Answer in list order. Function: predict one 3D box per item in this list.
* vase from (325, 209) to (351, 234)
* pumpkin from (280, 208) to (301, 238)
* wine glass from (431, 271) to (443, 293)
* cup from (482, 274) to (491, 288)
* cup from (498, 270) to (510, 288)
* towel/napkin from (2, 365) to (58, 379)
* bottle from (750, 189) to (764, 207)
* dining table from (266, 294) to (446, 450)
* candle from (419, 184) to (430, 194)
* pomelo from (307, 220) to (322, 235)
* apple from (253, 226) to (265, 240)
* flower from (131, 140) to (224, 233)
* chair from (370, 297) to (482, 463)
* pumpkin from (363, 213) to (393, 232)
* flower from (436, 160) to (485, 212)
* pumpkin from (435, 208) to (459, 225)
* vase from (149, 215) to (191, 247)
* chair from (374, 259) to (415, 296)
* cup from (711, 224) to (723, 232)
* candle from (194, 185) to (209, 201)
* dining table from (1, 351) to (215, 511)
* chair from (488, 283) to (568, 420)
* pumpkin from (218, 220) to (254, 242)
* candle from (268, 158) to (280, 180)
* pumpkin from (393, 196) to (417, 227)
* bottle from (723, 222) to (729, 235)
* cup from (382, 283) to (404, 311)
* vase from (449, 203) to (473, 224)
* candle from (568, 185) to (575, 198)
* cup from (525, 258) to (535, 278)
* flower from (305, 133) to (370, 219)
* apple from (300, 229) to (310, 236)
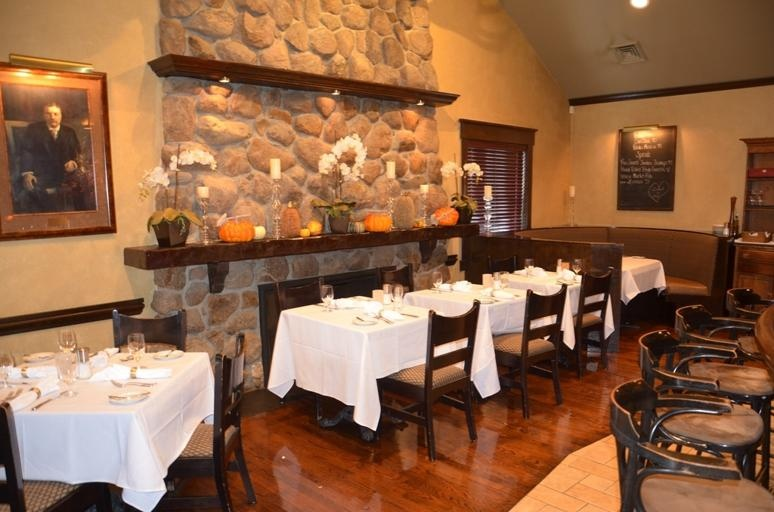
[{"bbox_3d":[-0.529,-0.367,5.897,0.232,0.181,0.245,-4,9,-35],"label":"vase"},{"bbox_3d":[-0.985,-0.346,5.563,0.187,0.300,0.147,-2,7,-11],"label":"pumpkin"},{"bbox_3d":[0.507,0.255,5.531,0.077,0.213,0.276,1,7,9],"label":"wine glass"},{"bbox_3d":[1.026,0.247,5.650,0.109,0.120,0.107,1,7,0],"label":"cup"},{"bbox_3d":[1.169,0.233,5.602,0.132,0.213,0.139,1,3,0],"label":"cup"},{"bbox_3d":[-2.406,0.789,3.720,0.212,0.055,0.143,0,5,23],"label":"towel/napkin"},{"bbox_3d":[5.358,-0.855,7.943,0.040,0.276,0.247,-6,11,-42],"label":"bottle"},{"bbox_3d":[-0.161,0.822,4.876,1.217,0.678,1.138,8,15,35],"label":"dining table"},{"bbox_3d":[0.457,-0.829,6.790,0.129,0.090,0.126,-4,9,-31],"label":"candle"},{"bbox_3d":[-0.745,-0.302,5.812,0.148,0.142,0.143,13,23,42],"label":"pomelo"},{"bbox_3d":[-1.257,-0.232,5.403,0.082,0.127,0.139,0,7,1],"label":"apple"},{"bbox_3d":[-1.955,-0.558,5.050,0.602,0.657,0.560,-3,3,37],"label":"flower"},{"bbox_3d":[0.311,0.995,4.706,0.897,1.124,0.893,0,2,11],"label":"chair"},{"bbox_3d":[-0.120,-0.372,6.196,0.250,0.156,0.248,1,1,9],"label":"pumpkin"},{"bbox_3d":[1.010,-0.871,7.314,0.603,0.697,0.541,1,12,22],"label":"flower"},{"bbox_3d":[0.788,-0.505,6.958,0.368,0.217,0.177,-3,7,-22],"label":"pumpkin"},{"bbox_3d":[-1.895,-0.207,4.830,0.272,0.262,0.323,0,1,36],"label":"vase"},{"bbox_3d":[0.062,0.222,5.963,0.328,0.547,0.338,-3,9,-38],"label":"chair"},{"bbox_3d":[4.890,-0.409,8.103,0.145,0.091,0.142,0,10,0],"label":"cup"},{"bbox_3d":[-1.712,-0.588,5.059,0.134,0.125,0.118,3,3,9],"label":"candle"},{"bbox_3d":[-1.673,1.073,3.458,0.820,0.453,0.947,3,7,14],"label":"dining table"},{"bbox_3d":[1.261,0.859,5.373,0.755,1.108,0.821,-1,5,-23],"label":"chair"},{"bbox_3d":[-1.434,-0.234,5.236,0.241,0.191,0.238,-1,2,-36],"label":"pumpkin"},{"bbox_3d":[-1.121,-0.876,5.508,0.105,0.221,0.313,-2,7,-12],"label":"candle"},{"bbox_3d":[0.219,-0.538,6.597,0.315,0.394,0.131,-4,8,-29],"label":"pumpkin"},{"bbox_3d":[4.885,-0.390,7.903,0.069,0.171,0.356,4,8,29],"label":"bottle"},{"bbox_3d":[0.068,0.363,4.837,0.202,0.221,0.209,2,1,0],"label":"cup"},{"bbox_3d":[0.963,-0.539,7.140,0.276,0.201,0.227,0,-1,-40],"label":"vase"},{"bbox_3d":[3.225,-1.132,9.564,0.132,0.212,0.385,2,7,18],"label":"candle"},{"bbox_3d":[1.628,0.134,6.280,0.096,0.178,0.157,2,7,16],"label":"cup"},{"bbox_3d":[-0.463,-0.899,6.013,0.413,0.884,0.830,5,9,38],"label":"flower"},{"bbox_3d":[-0.856,-0.241,5.712,0.075,0.061,0.076,-2,-6,42],"label":"apple"}]
